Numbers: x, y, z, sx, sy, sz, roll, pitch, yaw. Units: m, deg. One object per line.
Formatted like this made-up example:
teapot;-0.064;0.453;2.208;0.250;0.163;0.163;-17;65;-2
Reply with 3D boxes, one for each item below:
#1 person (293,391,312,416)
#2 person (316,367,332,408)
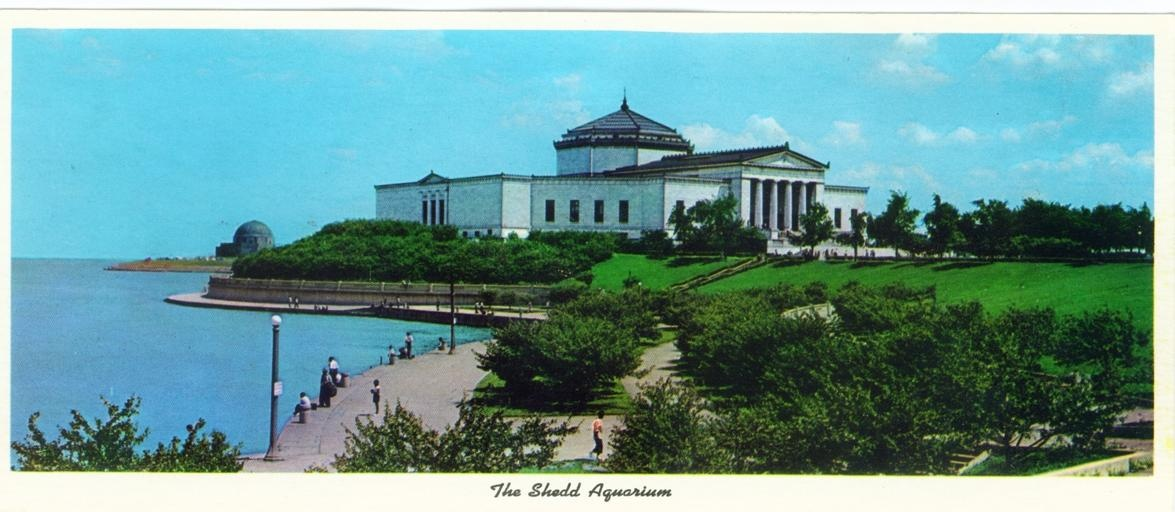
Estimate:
person;-16.761;8.667;75.675;0.945;1.294;2.980;0;-4;-13
person;-15.662;7.888;76.576;0.811;2.217;1.135;0;-4;-11
